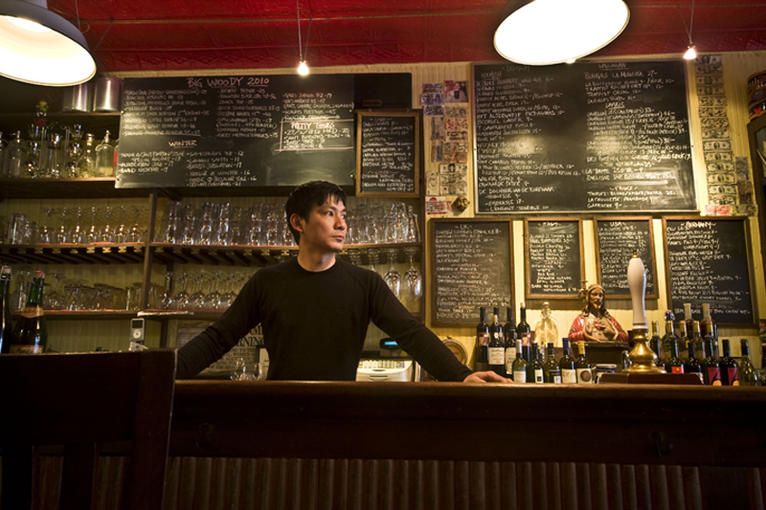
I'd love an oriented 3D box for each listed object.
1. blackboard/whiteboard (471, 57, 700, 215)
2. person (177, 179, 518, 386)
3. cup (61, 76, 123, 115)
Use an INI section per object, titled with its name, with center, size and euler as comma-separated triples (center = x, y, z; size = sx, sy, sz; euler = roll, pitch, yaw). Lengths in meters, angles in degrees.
[blackboard/whiteboard]
center = 1.719, -0.923, 4.964
size = 1.457, 1.002, 0.048
euler = 0, -12, 2
[person]
center = -0.206, 0.195, 4.050
size = 1.634, 0.979, 0.455
euler = 1, -25, -5
[cup]
center = -2.409, -1.320, 5.063
size = 0.408, 0.258, 0.406
euler = -2, -9, 0
